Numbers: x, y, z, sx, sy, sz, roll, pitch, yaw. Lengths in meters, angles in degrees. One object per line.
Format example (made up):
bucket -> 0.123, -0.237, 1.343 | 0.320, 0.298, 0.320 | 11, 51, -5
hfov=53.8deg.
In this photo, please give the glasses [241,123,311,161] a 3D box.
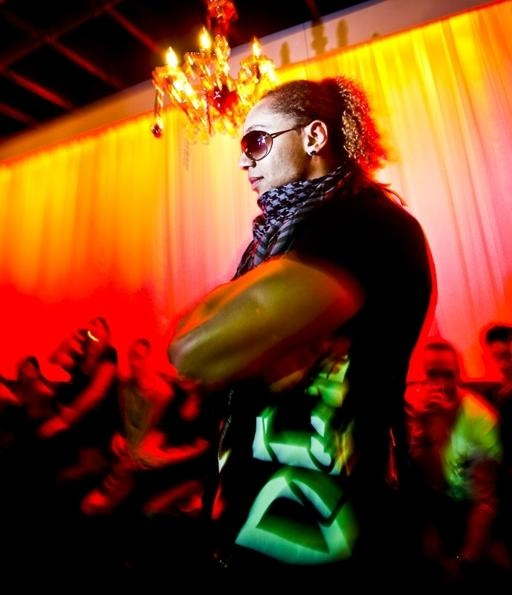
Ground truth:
glasses -> 0.041, -0.624, 2.050 | 0.169, 0.060, 0.163 | -17, 3, -25
